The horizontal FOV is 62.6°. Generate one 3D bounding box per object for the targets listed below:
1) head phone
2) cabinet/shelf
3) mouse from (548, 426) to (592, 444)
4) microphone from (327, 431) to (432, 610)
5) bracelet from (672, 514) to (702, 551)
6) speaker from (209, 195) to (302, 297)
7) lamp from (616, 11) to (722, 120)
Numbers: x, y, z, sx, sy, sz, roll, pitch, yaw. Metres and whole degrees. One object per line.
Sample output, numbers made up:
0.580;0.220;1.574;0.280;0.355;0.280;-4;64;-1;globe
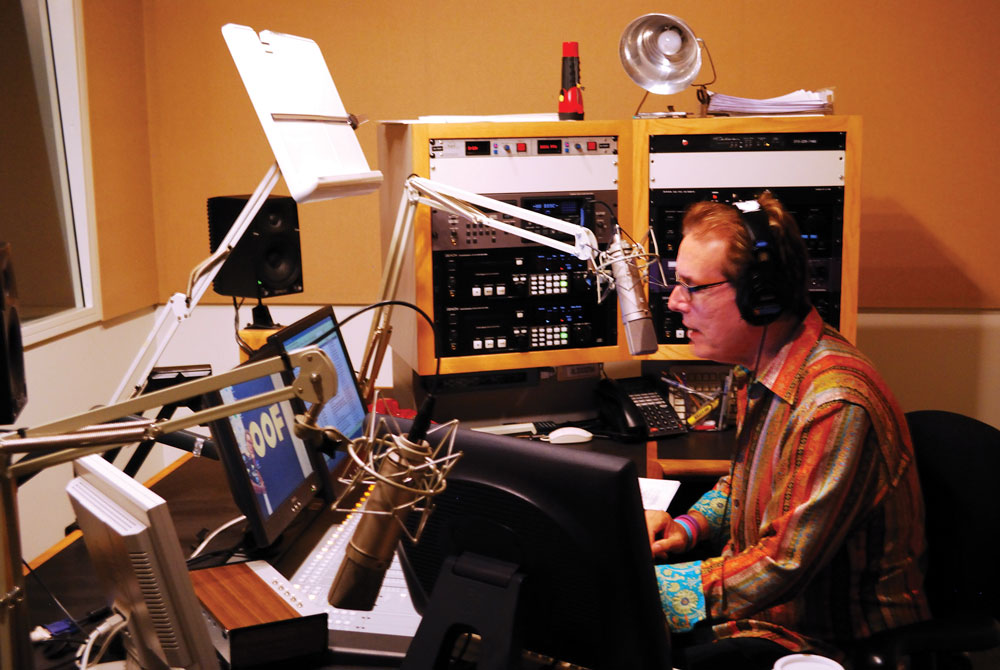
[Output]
0.719;-0.184;2.225;0.151;0.362;0.338;-10;-2;13;head phone
0.456;-0.432;3.499;2.053;1.365;1.127;0;10;-3;cabinet/shelf
0.268;0.361;3.074;0.133;0.039;0.088;2;1;-1;mouse
-0.238;0.386;1.674;0.204;0.374;0.129;5;9;33;microphone
0.555;0.588;2.464;0.083;0.087;0.088;4;9;7;bracelet
-0.908;-0.317;2.959;0.342;0.359;0.193;3;8;25;speaker
0.671;-1.074;3.232;0.371;0.429;0.442;22;32;22;lamp
